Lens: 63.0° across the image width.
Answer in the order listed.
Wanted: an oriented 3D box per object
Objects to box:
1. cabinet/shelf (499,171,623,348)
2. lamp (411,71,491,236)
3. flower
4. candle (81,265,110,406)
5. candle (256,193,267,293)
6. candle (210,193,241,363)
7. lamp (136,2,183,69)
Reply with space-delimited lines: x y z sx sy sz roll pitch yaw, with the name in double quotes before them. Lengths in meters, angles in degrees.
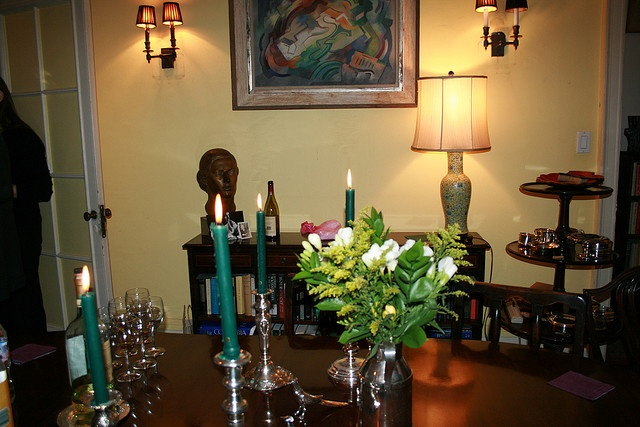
"cabinet/shelf" 1.573 0.204 3.415 0.763 0.958 0.767 2 6 31
"lamp" 0.865 -0.374 3.457 0.483 1.058 0.304 -3 4 10
"flower" 0.245 0.122 1.938 0.544 0.472 0.552 2 27 17
"candle" -0.732 0.391 1.691 0.054 0.427 0.188 -6 4 -25
"candle" -0.242 0.119 2.119 0.046 0.390 0.287 -4 4 -6
"candle" -0.303 0.244 1.678 0.058 0.433 0.141 -5 4 -11
"lamp" -1.148 -1.292 3.768 0.338 0.453 0.259 -4 4 -5
